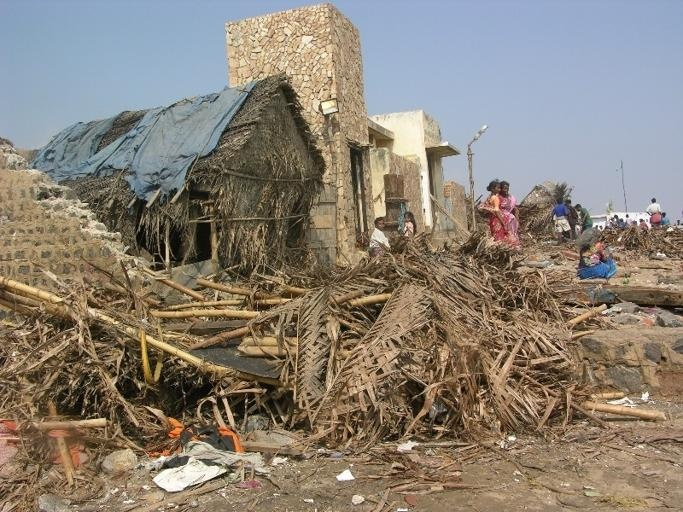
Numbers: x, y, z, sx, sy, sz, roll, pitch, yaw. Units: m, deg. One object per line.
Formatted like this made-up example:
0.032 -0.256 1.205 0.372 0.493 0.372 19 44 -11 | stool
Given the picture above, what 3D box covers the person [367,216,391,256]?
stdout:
0.807 -0.392 11.284 0.529 0.693 0.566 -9 16 -22 | person
